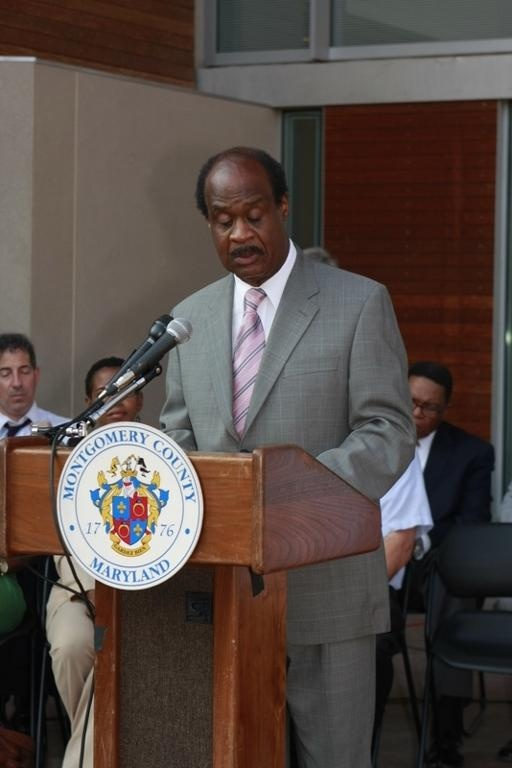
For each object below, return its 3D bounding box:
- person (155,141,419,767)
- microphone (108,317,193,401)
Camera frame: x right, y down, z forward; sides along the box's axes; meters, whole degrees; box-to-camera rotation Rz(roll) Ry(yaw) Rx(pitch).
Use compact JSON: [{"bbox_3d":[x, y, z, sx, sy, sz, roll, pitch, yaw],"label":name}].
[{"bbox_3d":[0.026,0.173,1.687,0.502,1.186,0.475,1,1,12],"label":"person"},{"bbox_3d":[-0.142,-0.049,1.425,0.057,0.183,0.054,16,-32,44],"label":"microphone"}]
